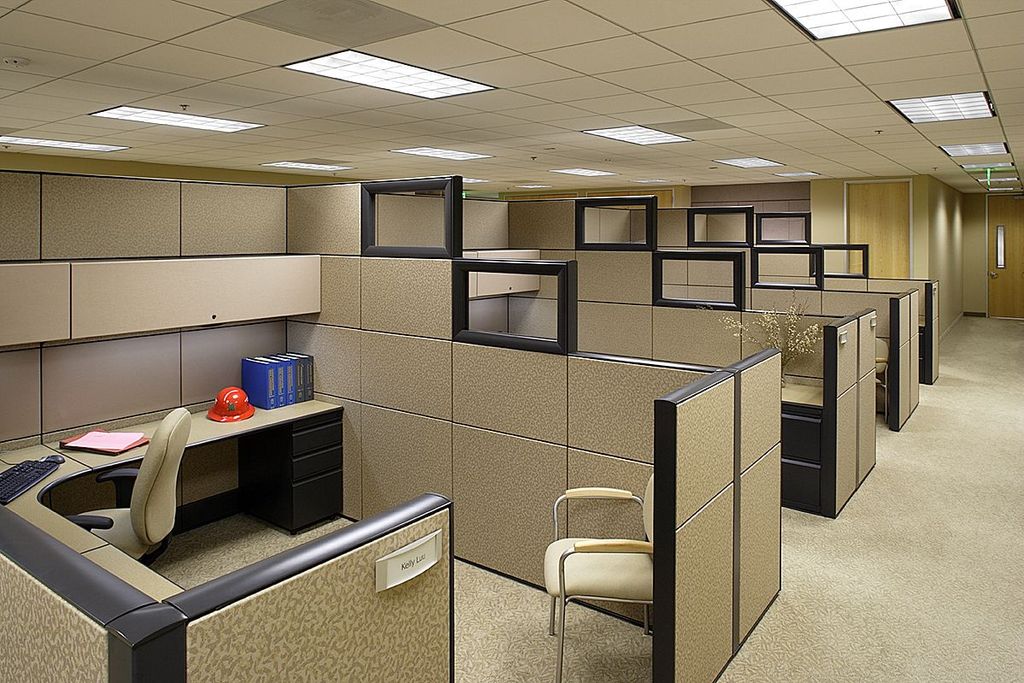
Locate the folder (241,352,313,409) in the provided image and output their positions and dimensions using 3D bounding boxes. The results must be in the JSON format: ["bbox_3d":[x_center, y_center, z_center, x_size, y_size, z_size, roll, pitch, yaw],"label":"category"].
[{"bbox_3d":[-1.674,0.244,4.866,0.377,0.445,0.520,6,8,36],"label":"folder"}]

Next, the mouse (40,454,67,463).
[{"bbox_3d":[-2.658,0.673,3.783,0.098,0.028,0.057,3,6,5],"label":"mouse"}]

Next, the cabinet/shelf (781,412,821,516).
[{"bbox_3d":[2.194,0.877,4.939,0.340,0.776,0.149,8,17,28],"label":"cabinet/shelf"}]

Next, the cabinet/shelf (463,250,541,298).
[{"bbox_3d":[-0.040,-0.640,6.233,0.434,0.476,1.230,6,14,22],"label":"cabinet/shelf"}]

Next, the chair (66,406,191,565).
[{"bbox_3d":[-1.998,0.783,3.474,0.535,0.813,0.390,0,14,2],"label":"chair"}]

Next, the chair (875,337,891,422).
[{"bbox_3d":[4.032,0.381,7.143,0.162,0.831,0.312,7,16,25],"label":"chair"}]

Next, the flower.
[{"bbox_3d":[2.252,-0.232,5.820,1.016,0.542,0.653,-4,8,-36],"label":"flower"}]

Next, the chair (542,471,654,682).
[{"bbox_3d":[0.460,1.205,3.434,0.573,0.943,0.722,2,14,7],"label":"chair"}]

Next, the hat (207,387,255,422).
[{"bbox_3d":[-1.949,0.409,4.484,0.251,0.119,0.255,1,17,-3],"label":"hat"}]
